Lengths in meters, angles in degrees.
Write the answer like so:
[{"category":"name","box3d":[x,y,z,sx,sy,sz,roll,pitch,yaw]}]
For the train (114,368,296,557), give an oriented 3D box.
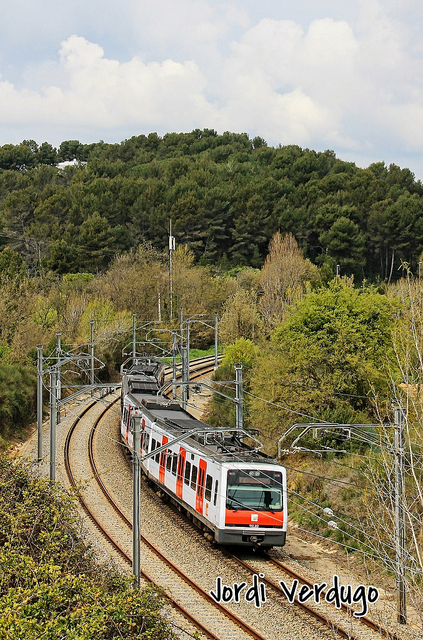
[{"category":"train","box3d":[-1.318,4.155,28.121,2.619,4.097,21.118,-1,6,-11]}]
